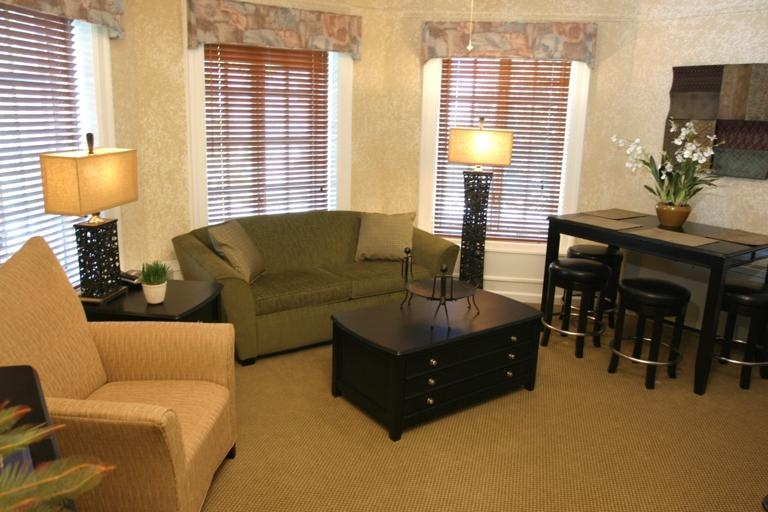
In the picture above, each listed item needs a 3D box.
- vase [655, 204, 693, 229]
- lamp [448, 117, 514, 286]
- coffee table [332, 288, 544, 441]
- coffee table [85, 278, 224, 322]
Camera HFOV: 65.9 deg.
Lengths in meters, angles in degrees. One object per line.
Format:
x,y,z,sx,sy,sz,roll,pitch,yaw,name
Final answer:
2.548,-0.349,5.215,0.260,0.167,0.247,1,6,5,vase
0.938,-0.523,5.974,0.586,1.684,0.694,1,17,7,lamp
0.149,0.566,4.463,1.525,0.634,0.932,-8,16,-31,coffee table
-1.607,0.342,4.187,0.540,0.274,0.378,2,17,-2,coffee table
